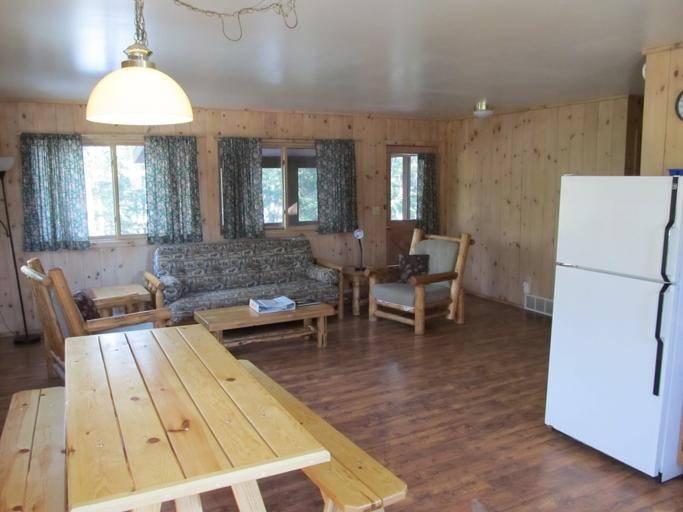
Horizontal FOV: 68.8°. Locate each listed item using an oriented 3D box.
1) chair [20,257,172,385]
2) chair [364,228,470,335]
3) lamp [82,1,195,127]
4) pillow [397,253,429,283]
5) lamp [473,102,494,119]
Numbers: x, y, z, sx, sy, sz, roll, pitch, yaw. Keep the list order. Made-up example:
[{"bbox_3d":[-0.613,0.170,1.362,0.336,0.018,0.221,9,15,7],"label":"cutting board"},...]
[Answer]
[{"bbox_3d":[-1.817,0.544,4.125,0.919,1.077,0.848,-11,17,-33],"label":"chair"},{"bbox_3d":[0.982,0.286,6.246,1.113,1.024,1.222,4,12,30],"label":"chair"},{"bbox_3d":[-1.006,-0.953,2.364,0.435,0.611,0.468,-13,18,-43],"label":"lamp"},{"bbox_3d":[0.889,0.153,6.122,0.407,0.368,0.141,1,-5,9],"label":"pillow"},{"bbox_3d":[1.582,-1.687,5.605,0.233,0.210,0.224,1,3,11],"label":"lamp"}]
